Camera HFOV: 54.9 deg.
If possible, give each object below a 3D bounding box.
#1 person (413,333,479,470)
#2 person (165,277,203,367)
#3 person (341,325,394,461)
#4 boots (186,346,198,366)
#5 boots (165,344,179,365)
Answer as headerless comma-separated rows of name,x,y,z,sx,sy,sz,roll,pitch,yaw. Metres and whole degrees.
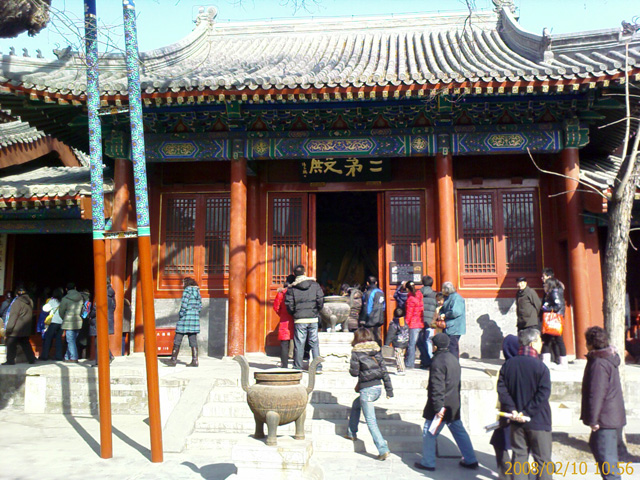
person,1.604,2.121,7.969,0.706,1.783,0.494,0,-4,9
person,-2.480,1.530,11.472,0.555,1.638,0.700,1,-4,-13
person,0.719,2.121,8.649,0.639,1.771,0.707,0,-3,3
boots,-2.279,2.143,11.328,0.147,0.367,0.393,1,-3,-11
boots,-2.711,2.145,11.427,0.236,0.404,0.590,1,-3,-14
